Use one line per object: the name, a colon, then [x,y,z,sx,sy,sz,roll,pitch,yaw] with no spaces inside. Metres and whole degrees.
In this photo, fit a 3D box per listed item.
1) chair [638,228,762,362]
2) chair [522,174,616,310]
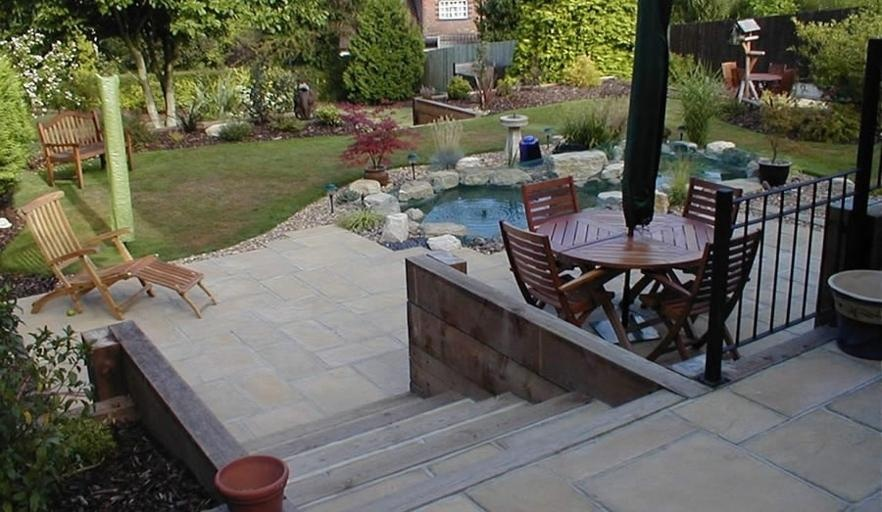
chair: [2.625,0.402,6.169,1.055,1.423,1.055,-14,23,-23]
chair: [1.841,-0.382,7.435,1.019,1.611,1.152,-22,35,-9]
